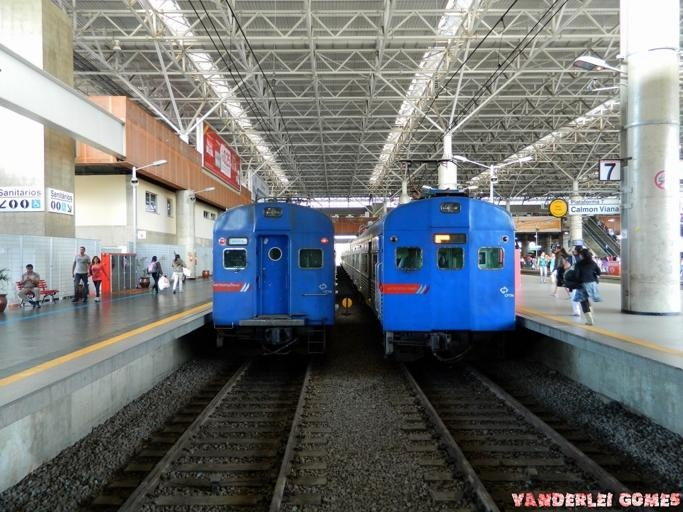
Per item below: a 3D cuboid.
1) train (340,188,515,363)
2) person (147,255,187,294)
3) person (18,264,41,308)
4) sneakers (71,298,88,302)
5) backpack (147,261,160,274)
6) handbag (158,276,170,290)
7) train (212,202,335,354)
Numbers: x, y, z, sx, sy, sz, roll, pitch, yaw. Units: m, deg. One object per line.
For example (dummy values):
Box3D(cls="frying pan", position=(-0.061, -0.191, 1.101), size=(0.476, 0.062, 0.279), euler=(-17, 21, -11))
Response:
Box3D(cls="train", position=(2.161, 0.591, 18.077), size=(3.222, 4.181, 14.533), euler=(1, 0, -1))
Box3D(cls="person", position=(-7.685, 0.803, 20.696), size=(1.527, 1.642, 0.630), euler=(1, 10, -1))
Box3D(cls="person", position=(-9.938, 0.947, 15.023), size=(0.588, 1.353, 0.756), euler=(-4, 5, -34))
Box3D(cls="sneakers", position=(-9.256, 1.549, 16.729), size=(0.367, 0.155, 0.123), euler=(6, -4, -12))
Box3D(cls="backpack", position=(-7.483, 0.414, 18.745), size=(0.423, 0.464, 0.313), euler=(-1, 4, 2))
Box3D(cls="handbag", position=(-7.305, 1.124, 19.421), size=(0.536, 0.663, 0.346), euler=(9, 27, 5))
Box3D(cls="train", position=(-1.684, 0.577, 11.841), size=(2.977, 3.901, 0.944), euler=(-1, 4, 2))
